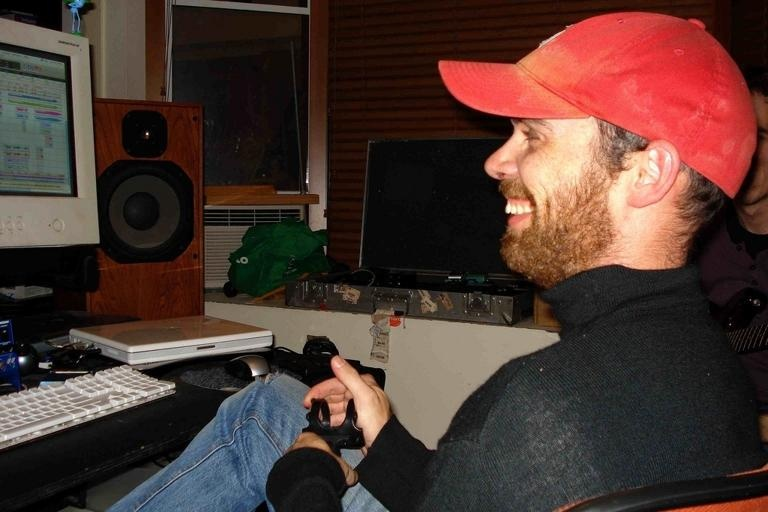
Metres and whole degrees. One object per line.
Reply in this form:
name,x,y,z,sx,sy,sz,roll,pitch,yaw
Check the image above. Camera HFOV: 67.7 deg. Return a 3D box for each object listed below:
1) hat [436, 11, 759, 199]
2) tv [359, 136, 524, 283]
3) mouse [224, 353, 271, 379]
hat,0.355,-0.287,0.947,0.505,0.229,0.312,13,24,7
tv,0.202,-0.149,2.006,0.612,0.418,0.024,1,-5,14
mouse,-0.307,0.252,1.316,0.079,0.023,0.055,11,8,34
